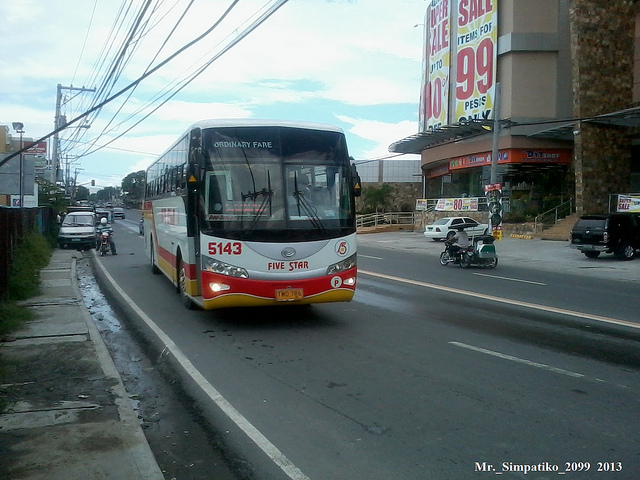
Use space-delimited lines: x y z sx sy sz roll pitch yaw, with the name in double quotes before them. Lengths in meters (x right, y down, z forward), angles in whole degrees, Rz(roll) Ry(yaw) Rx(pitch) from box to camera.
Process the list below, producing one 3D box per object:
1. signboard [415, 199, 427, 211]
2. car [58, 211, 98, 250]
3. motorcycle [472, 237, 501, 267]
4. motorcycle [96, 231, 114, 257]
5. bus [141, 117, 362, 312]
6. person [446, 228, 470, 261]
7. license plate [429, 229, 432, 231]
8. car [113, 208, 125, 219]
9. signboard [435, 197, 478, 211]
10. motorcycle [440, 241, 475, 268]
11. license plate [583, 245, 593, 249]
"signboard" 10.625 -3.654 51.188 0.524 1.520 1.594 7 -4 -44
"car" -13.389 -0.655 27.021 1.443 1.475 2.811 0 0 -23
"motorcycle" 6.952 0.372 20.766 1.287 1.249 1.843 -4 4 -4
"motorcycle" -10.089 0.179 22.922 0.470 1.153 0.830 -3 4 -23
"bus" -1.747 -0.401 10.587 2.609 3.997 4.628 -4 5 -35
"person" 6.021 0.125 21.273 0.783 0.838 1.263 3 7 -10
"license plate" 8.217 -0.736 36.231 0.212 0.096 0.038 2 5 36
"car" -31.670 -4.294 76.665 2.023 1.608 4.806 0 1 -26
"signboard" 12.504 -3.235 44.750 0.754 1.106 5.850 -2 4 -15
"motorcycle" 5.757 0.669 20.695 0.737 0.911 1.359 3 5 -32
"license plate" 12.765 0.328 23.222 0.411 0.202 0.178 2 5 39
